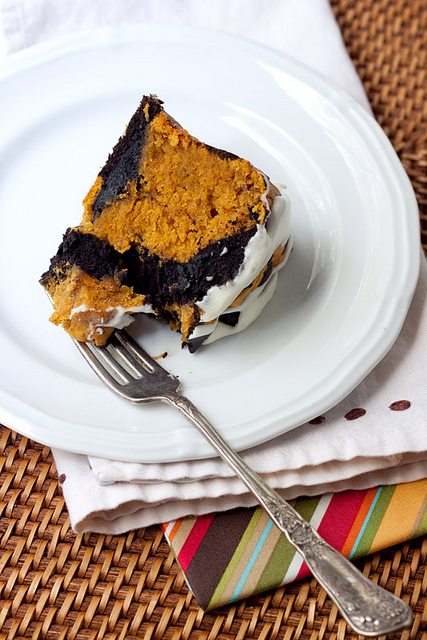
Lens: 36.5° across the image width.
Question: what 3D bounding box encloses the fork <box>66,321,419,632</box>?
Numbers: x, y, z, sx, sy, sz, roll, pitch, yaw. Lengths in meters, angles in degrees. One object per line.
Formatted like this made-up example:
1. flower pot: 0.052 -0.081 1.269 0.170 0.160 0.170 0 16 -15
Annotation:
1. fork: 0.051 0.259 0.990 0.089 0.056 0.708 -22 47 -29
